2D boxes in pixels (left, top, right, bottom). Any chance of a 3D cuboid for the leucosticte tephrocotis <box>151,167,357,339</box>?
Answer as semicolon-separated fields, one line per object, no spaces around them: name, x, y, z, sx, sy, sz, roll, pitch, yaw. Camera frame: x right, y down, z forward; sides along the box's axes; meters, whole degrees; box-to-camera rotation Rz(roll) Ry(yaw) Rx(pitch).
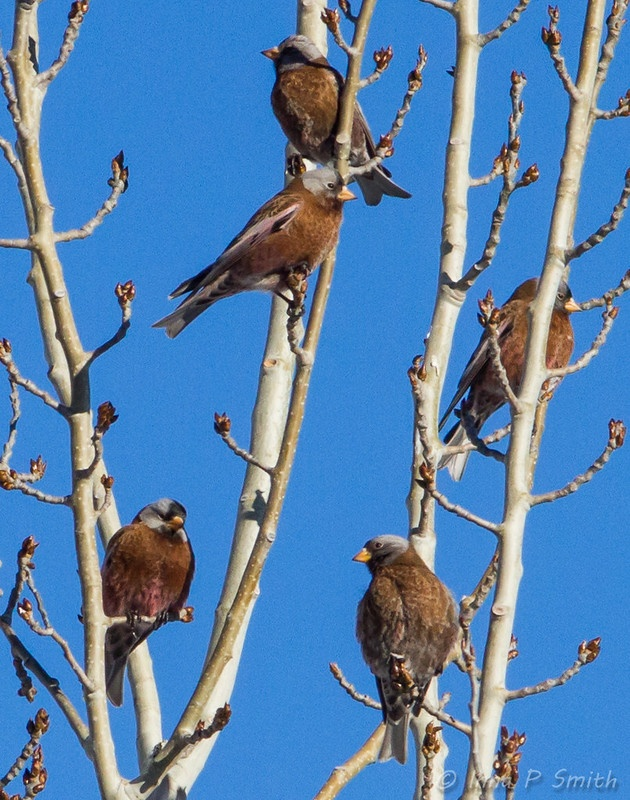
leucosticte tephrocotis;-0.214;-0.621;8.972;0.964;0.655;0.423;-29;-67;12

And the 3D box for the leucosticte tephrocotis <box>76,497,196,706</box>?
leucosticte tephrocotis;-0.805;0.848;8.409;0.302;0.818;0.869;10;-56;-7

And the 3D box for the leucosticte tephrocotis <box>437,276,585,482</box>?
leucosticte tephrocotis;0.976;-0.200;10.010;0.363;0.679;1.110;13;-89;-44
